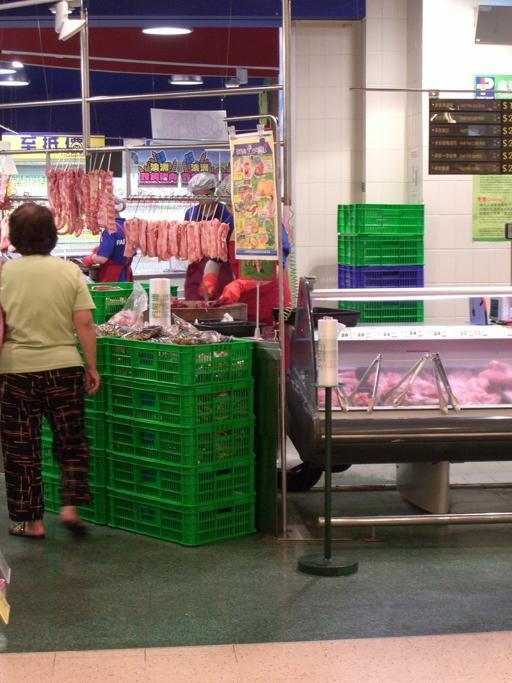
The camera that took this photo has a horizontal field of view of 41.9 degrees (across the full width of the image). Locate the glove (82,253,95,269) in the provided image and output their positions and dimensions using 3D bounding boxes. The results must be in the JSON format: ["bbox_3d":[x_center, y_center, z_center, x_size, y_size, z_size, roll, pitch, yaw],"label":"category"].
[{"bbox_3d":[-1.597,-0.769,6.373,0.114,0.067,0.179,-13,9,-17],"label":"glove"}]

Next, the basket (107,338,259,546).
[{"bbox_3d":[-0.398,0.478,3.288,0.760,0.989,0.507,0,-2,1],"label":"basket"}]

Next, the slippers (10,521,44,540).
[{"bbox_3d":[-1.126,0.932,3.364,0.181,0.091,0.082,6,2,29],"label":"slippers"}]

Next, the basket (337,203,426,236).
[{"bbox_3d":[1.498,-1.436,8.019,0.620,0.227,0.567,1,3,-7],"label":"basket"}]

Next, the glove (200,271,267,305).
[{"bbox_3d":[-0.185,-0.368,4.649,0.371,0.294,0.791,0,-2,-4],"label":"glove"}]

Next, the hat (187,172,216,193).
[{"bbox_3d":[-0.449,-1.261,5.465,0.209,0.139,0.169,-13,-9,17],"label":"hat"}]

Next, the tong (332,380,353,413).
[{"bbox_3d":[0.411,0.260,3.246,0.052,0.059,0.205,-34,34,22],"label":"tong"}]

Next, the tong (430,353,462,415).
[{"bbox_3d":[0.930,0.204,3.306,0.135,0.282,0.209,-1,-2,8],"label":"tong"}]

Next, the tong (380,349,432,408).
[{"bbox_3d":[0.768,0.190,3.286,0.323,0.253,0.138,1,-3,-31],"label":"tong"}]

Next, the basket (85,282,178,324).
[{"bbox_3d":[-0.809,-0.247,4.344,0.539,0.149,0.318,-3,4,-30],"label":"basket"}]
